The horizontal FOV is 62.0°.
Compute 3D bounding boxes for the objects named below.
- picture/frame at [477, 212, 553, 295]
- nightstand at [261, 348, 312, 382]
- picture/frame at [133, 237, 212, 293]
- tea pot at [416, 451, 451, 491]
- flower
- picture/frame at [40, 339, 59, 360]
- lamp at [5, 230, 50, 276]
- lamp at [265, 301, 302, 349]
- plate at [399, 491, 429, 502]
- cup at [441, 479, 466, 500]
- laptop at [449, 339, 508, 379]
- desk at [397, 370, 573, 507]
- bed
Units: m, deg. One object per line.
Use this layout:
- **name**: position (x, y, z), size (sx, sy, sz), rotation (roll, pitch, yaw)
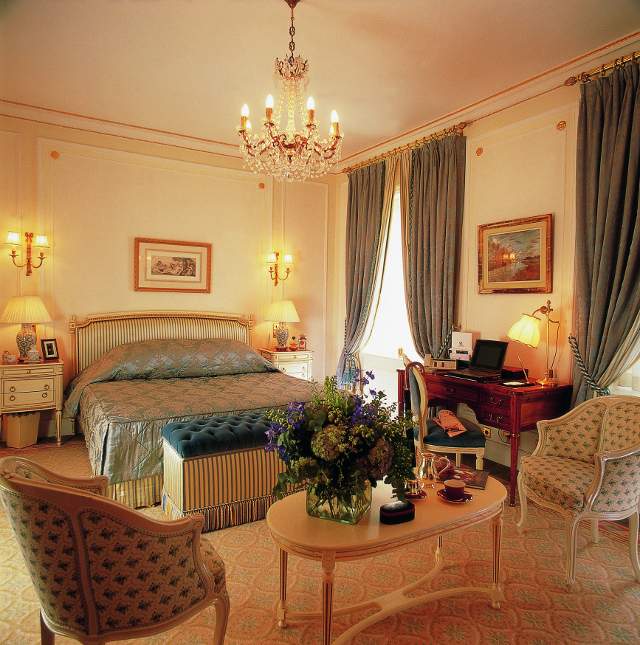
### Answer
- **picture/frame**: position (1.681, -0.584, 4.531), size (0.058, 0.717, 0.757), rotation (-1, 1, -33)
- **nightstand**: position (-0.427, 0.410, 6.491), size (0.546, 0.517, 0.390), rotation (-1, 3, -34)
- **picture/frame**: position (-1.716, -0.656, 6.037), size (0.663, 0.485, 0.024), rotation (2, -2, -31)
- **tea pot**: position (0.616, 0.805, 2.914), size (0.240, 0.219, 0.152), rotation (2, -5, -27)
- **flower**: position (0.081, 0.526, 2.301), size (0.627, 0.493, 0.285), rotation (1, 5, 9)
- **picture/frame**: position (-2.683, 0.274, 5.256), size (0.027, 0.260, 0.199), rotation (-24, -14, 40)
- **lamp**: position (-2.903, -0.685, 5.235), size (0.452, 0.558, 0.168), rotation (2, -4, -40)
- **lamp**: position (-0.457, 0.017, 6.562), size (0.523, 0.644, 0.529), rotation (-1, 6, 1)
- **plate**: position (0.466, 0.840, 2.568), size (0.112, 0.026, 0.114), rotation (-1, 0, 41)
- **cup**: position (0.643, 0.805, 2.576), size (0.077, 0.058, 0.092), rotation (0, -4, 13)
- **laptop**: position (1.407, 0.295, 4.481), size (0.319, 0.259, 0.355), rotation (1, 1, -23)
- **desk**: position (1.258, 0.851, 4.514), size (0.545, 0.807, 1.330), rotation (-3, 5, -33)
- **bed**: position (-1.108, 0.665, 4.318), size (1.565, 0.955, 1.902), rotation (-2, 5, -29)
